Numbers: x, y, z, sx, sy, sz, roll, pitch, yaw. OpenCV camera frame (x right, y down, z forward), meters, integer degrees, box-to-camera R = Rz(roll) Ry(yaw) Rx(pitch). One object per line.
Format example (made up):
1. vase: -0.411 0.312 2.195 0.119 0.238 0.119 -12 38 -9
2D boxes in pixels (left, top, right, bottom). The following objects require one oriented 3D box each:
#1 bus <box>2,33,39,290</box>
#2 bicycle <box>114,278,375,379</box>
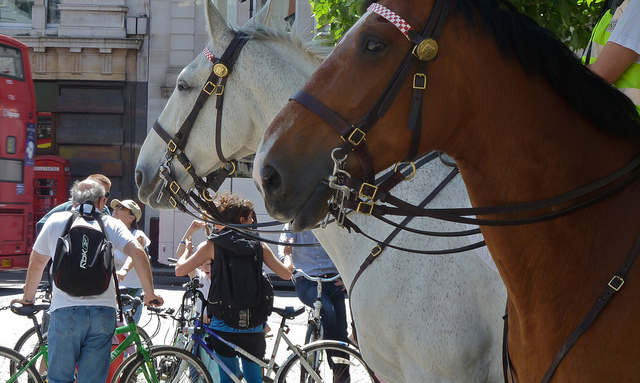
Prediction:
1. bus: -6.296 -0.793 15.435 0.653 4.695 1.595 0 15 -22
2. bicycle: -0.937 1.610 9.196 2.639 1.651 1.351 -1 -7 -10
